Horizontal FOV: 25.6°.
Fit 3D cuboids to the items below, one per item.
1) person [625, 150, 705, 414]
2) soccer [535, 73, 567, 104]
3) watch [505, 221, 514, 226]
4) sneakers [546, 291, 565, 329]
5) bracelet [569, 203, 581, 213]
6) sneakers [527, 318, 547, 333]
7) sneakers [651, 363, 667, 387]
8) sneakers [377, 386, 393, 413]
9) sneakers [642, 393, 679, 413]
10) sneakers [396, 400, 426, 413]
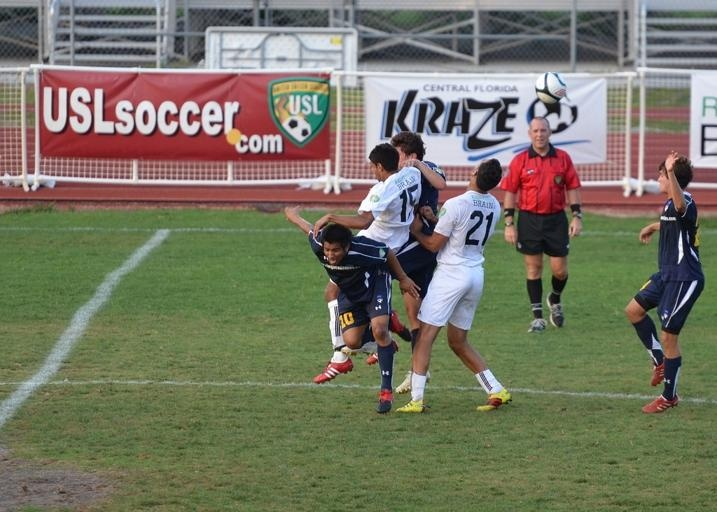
[{"bbox_3d":[3.646,0.279,18.476,0.657,3.032,0.688,-1,5,-22],"label":"person"},{"bbox_3d":[2.797,-2.465,22.762,0.542,0.482,0.507,-3,-41,3],"label":"soccer"},{"bbox_3d":[2.015,-0.440,20.560,0.057,0.054,0.053,-1,0,-37],"label":"watch"},{"bbox_3d":[2.598,0.699,20.604,0.185,0.474,0.194,-8,-21,-25],"label":"sneakers"},{"bbox_3d":[2.890,-0.654,20.737,0.126,0.092,0.122,1,2,2],"label":"bracelet"},{"bbox_3d":[2.359,0.885,20.412,0.230,0.175,0.288,1,4,9],"label":"sneakers"},{"bbox_3d":[3.616,1.419,18.787,0.116,0.149,0.310,-40,-13,-30],"label":"sneakers"},{"bbox_3d":[0.317,1.689,18.372,0.166,0.285,0.210,0,4,0],"label":"sneakers"},{"bbox_3d":[3.534,1.713,18.324,0.458,0.177,0.175,-4,9,-5],"label":"sneakers"},{"bbox_3d":[0.653,1.769,18.414,0.405,0.169,0.131,2,-6,4],"label":"sneakers"}]
